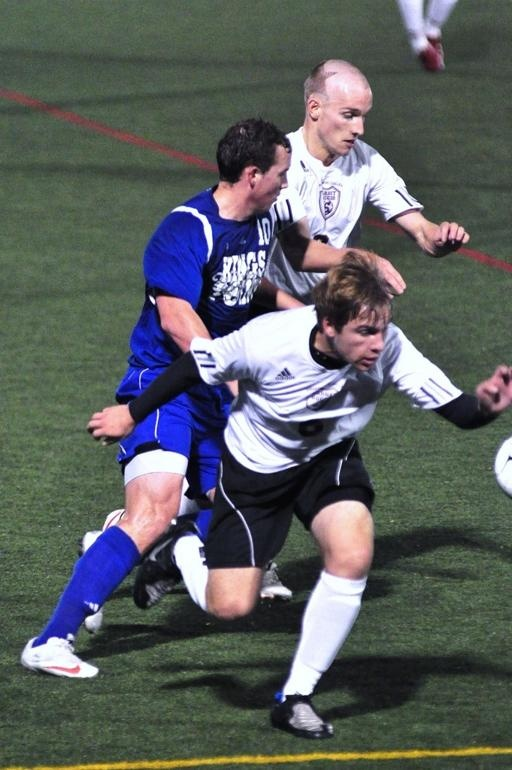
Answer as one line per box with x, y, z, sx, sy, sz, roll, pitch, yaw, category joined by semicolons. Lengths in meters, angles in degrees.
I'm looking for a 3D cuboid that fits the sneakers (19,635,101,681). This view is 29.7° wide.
-0.516;0.706;2.542;0.254;0.100;0.078;12;2;-4;sneakers

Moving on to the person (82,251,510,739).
0.117;0.370;2.827;1.167;1.385;1.021;-14;43;-25;person

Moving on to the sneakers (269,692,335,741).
0.099;0.768;2.236;0.145;0.075;0.081;-5;-8;38;sneakers
